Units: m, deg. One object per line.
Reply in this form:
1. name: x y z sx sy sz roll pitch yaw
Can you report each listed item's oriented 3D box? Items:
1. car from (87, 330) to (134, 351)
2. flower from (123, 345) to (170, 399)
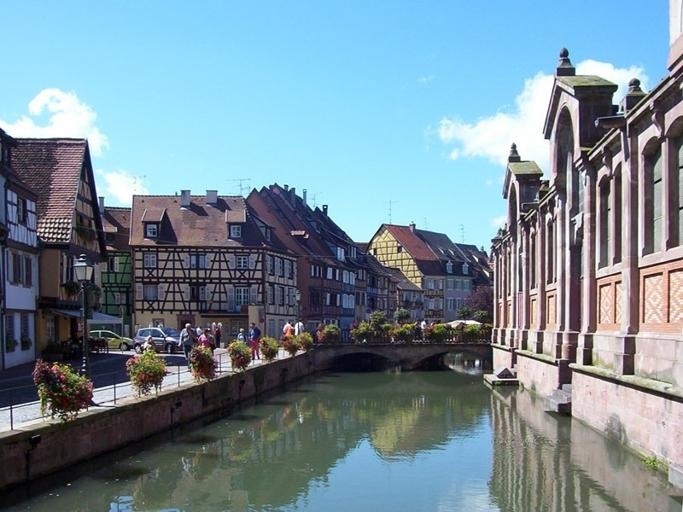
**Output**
1. car: -16.024 6.253 56.399 3.169 1.640 1.855 -3 -2 4
2. flower: -6.516 3.841 26.771 1.188 1.578 0.799 -1 -6 -17
